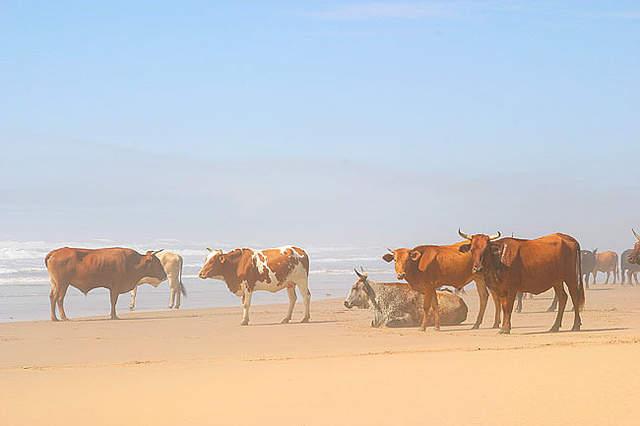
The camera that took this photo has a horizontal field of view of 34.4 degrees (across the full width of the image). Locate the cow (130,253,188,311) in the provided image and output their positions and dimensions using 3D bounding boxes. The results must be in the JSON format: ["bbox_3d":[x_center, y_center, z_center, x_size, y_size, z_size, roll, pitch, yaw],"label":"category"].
[{"bbox_3d":[-6.214,2.585,41.625,1.580,2.629,1.835,-3,-1,14],"label":"cow"}]

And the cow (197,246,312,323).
[{"bbox_3d":[-2.018,2.387,33.614,3.849,2.478,1.158,0,-6,3],"label":"cow"}]

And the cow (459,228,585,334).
[{"bbox_3d":[5.746,1.953,28.492,3.838,2.791,1.088,4,-6,-25],"label":"cow"}]

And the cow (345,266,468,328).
[{"bbox_3d":[2.797,2.747,32.935,4.371,2.029,2.921,0,-3,4],"label":"cow"}]

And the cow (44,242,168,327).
[{"bbox_3d":[-7.387,2.406,35.364,3.620,2.400,1.974,-3,5,-19],"label":"cow"}]
